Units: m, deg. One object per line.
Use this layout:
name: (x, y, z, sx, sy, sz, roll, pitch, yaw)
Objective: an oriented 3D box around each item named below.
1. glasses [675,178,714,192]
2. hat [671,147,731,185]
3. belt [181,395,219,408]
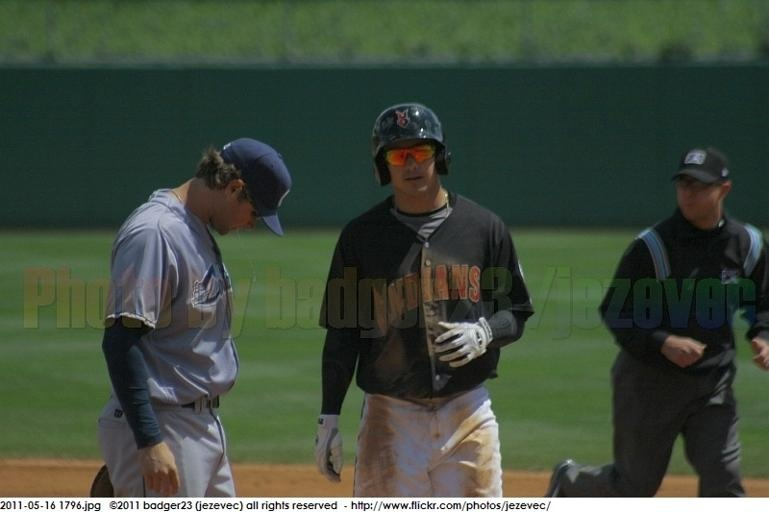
glasses: (2.598, -0.582, 12.158, 0.340, 0.136, 0.199, 6, -4, -27)
hat: (2.672, -0.810, 12.298, 0.445, 0.283, 0.593, 7, 11, 31)
belt: (-1.401, 1.128, 11.313, 0.185, 0.082, 0.123, -1, 4, -4)
